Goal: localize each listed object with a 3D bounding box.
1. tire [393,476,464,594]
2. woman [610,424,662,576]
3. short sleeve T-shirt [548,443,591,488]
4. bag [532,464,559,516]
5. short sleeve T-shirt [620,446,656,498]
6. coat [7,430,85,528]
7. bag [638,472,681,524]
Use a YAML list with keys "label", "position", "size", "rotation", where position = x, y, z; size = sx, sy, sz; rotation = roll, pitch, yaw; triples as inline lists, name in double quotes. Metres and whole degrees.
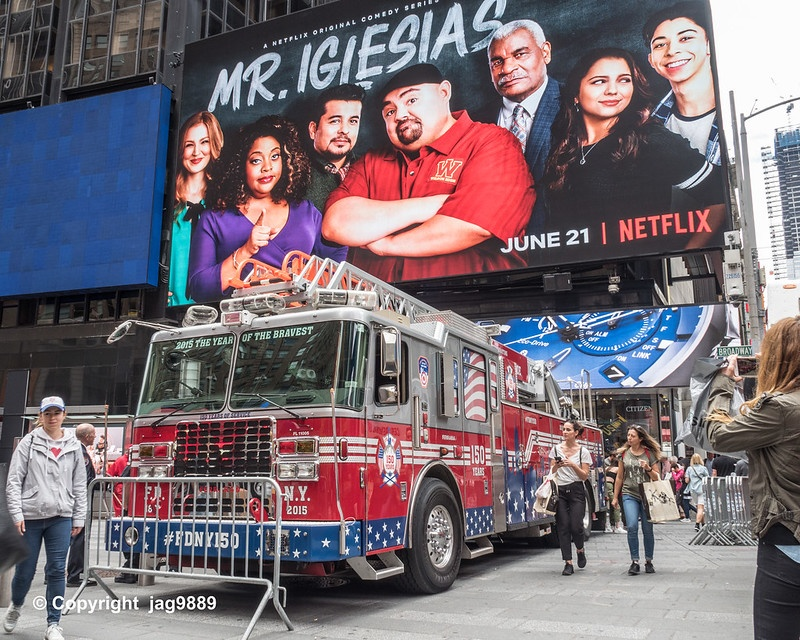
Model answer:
- label: "tire"
  position: [0.400, 3.085, 10.804]
  size: [0.587, 1.505, 1.511]
  rotation: [-10, -6, 30]
- label: "woman"
  position: [3.821, 2.823, 12.097]
  size: [0.857, 2.303, 0.837]
  rotation: [0, -15, 7]
- label: "short sleeve T-shirt"
  position: [2.836, 2.352, 12.457]
  size: [0.362, 0.614, 0.653]
  rotation: [-3, -1, -43]
- label: "bag"
  position: [2.415, 2.830, 12.535]
  size: [0.336, 0.723, 0.560]
  rotation: [11, -11, -8]
- label: "short sleeve T-shirt"
  position: [3.780, 2.471, 12.211]
  size: [0.598, 0.956, 0.275]
  rotation: [3, 13, 17]
- label: "coat"
  position: [-3.905, 1.795, 8.412]
  size: [0.876, 1.181, 0.519]
  rotation: [11, -37, -40]
- label: "bag"
  position: [4.033, 2.804, 11.774]
  size: [0.603, 0.621, 0.301]
  rotation: [1, -10, -21]
